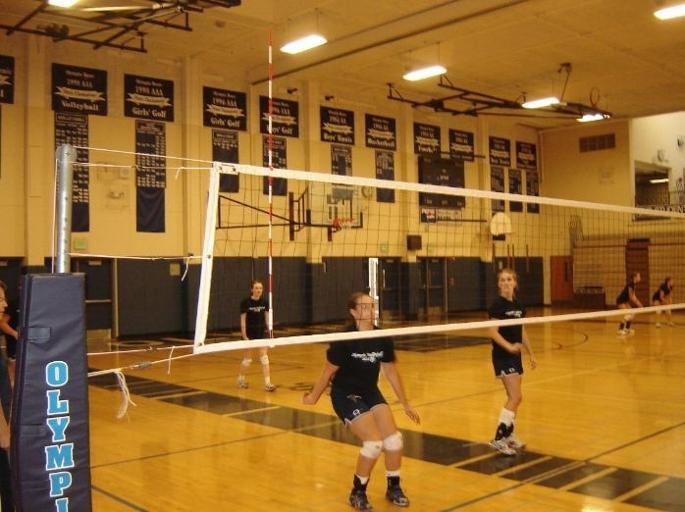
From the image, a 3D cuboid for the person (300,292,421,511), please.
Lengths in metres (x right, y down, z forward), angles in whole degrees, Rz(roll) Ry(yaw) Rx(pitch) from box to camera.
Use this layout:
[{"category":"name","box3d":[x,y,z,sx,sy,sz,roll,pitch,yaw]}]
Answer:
[{"category":"person","box3d":[0.199,1.269,5.607,0.931,1.857,0.654,-1,2,-4]}]

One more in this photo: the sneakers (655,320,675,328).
[{"category":"sneakers","box3d":[9.355,1.954,17.977,0.508,0.221,0.171,1,-5,2]}]

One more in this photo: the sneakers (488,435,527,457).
[{"category":"sneakers","box3d":[1.798,2.027,6.663,0.285,0.130,0.186,4,3,22]}]

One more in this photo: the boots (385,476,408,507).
[{"category":"boots","box3d":[0.416,2.101,5.514,0.118,0.213,0.306,3,-7,-31]}]

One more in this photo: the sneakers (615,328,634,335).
[{"category":"sneakers","box3d":[7.341,1.961,15.994,0.494,0.205,0.182,-3,2,4]}]

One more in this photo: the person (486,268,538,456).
[{"category":"person","box3d":[1.909,1.118,7.016,0.466,1.972,1.022,0,2,16]}]
